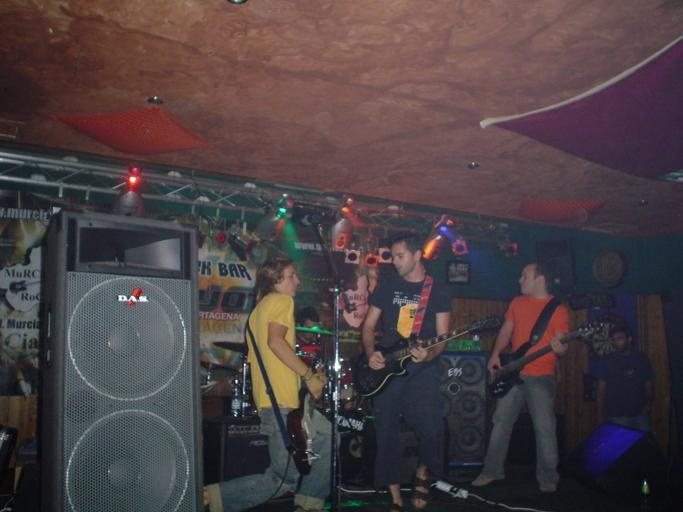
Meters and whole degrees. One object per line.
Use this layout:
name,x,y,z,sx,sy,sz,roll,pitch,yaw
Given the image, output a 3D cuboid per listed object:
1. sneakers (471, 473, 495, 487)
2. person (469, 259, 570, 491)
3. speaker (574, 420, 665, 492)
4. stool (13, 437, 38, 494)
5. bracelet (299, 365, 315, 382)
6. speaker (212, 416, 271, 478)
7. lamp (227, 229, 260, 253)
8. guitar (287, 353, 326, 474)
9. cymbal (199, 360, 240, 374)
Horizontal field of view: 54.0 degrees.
sneakers,1.364,2.120,6.442,0.202,0.120,0.270,-1,-10,14
person,1.757,1.121,6.494,0.889,2.157,0.568,-3,-11,22
speaker,2.376,1.742,5.795,0.567,0.434,0.639,2,-12,-15
stool,-2.537,1.669,5.481,0.289,0.408,0.483,-1,-18,-21
bracelet,-0.251,0.892,5.084,0.058,0.081,0.109,21,-15,-36
speaker,-0.848,1.600,5.686,0.491,0.652,0.474,6,-13,-39
lamp,-1.116,-0.150,7.436,0.294,0.236,0.349,8,-12,-35
guitar,-0.285,1.339,5.230,0.106,0.719,0.304,-19,-41,24
cymbal,-1.323,1.207,7.281,0.352,0.068,0.327,8,-19,-4
